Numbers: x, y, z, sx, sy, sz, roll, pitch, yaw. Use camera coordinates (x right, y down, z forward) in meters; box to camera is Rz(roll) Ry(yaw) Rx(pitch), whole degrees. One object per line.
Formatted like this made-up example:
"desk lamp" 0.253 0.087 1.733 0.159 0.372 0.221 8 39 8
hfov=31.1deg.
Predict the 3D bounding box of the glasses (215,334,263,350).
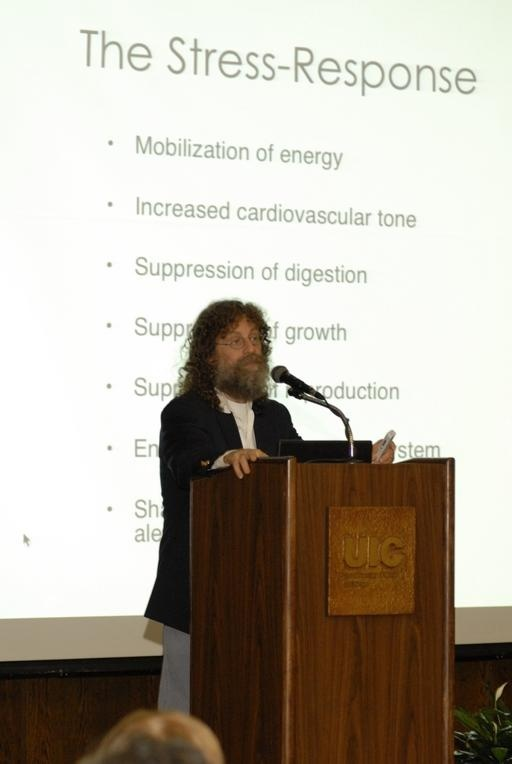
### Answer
"glasses" -0.043 -0.105 2.437 0.059 0.019 0.061 4 -27 -25

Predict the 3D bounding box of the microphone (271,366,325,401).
"microphone" 0.095 0.004 1.928 0.050 0.052 0.154 6 13 -29
